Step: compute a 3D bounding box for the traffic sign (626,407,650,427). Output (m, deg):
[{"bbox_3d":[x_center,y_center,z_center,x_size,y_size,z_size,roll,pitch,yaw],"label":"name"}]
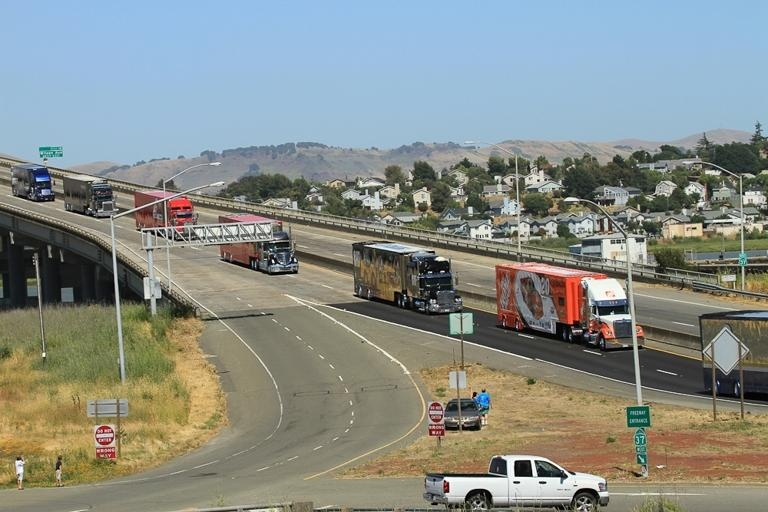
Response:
[{"bbox_3d":[15.841,9.977,86.621,1.544,1.181,0.145,-2,6,4],"label":"traffic sign"}]
